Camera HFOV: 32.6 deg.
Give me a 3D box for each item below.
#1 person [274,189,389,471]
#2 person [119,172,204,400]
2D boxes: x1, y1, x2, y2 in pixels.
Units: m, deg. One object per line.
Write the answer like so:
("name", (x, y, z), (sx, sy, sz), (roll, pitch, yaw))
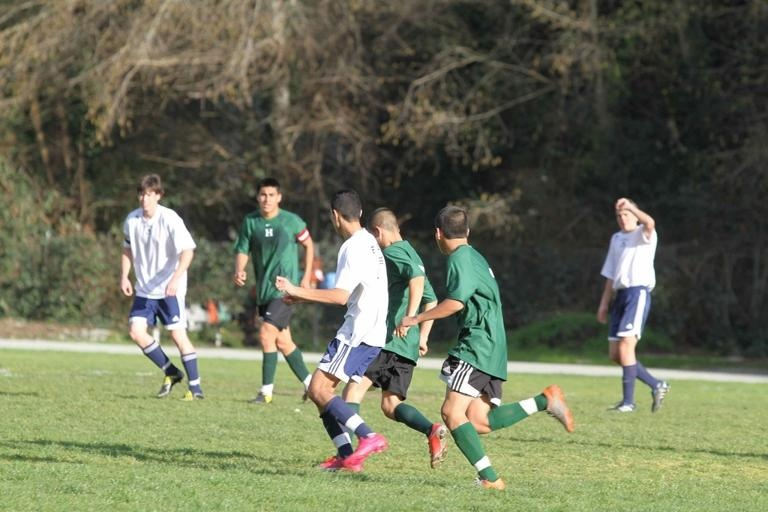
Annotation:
("person", (-0.554, 1.074, 18.794), (1.253, 4.063, 0.625), (2, -2, -3))
("person", (-3.641, 0.518, 21.657), (1.316, 3.702, 0.841), (2, -2, -12))
